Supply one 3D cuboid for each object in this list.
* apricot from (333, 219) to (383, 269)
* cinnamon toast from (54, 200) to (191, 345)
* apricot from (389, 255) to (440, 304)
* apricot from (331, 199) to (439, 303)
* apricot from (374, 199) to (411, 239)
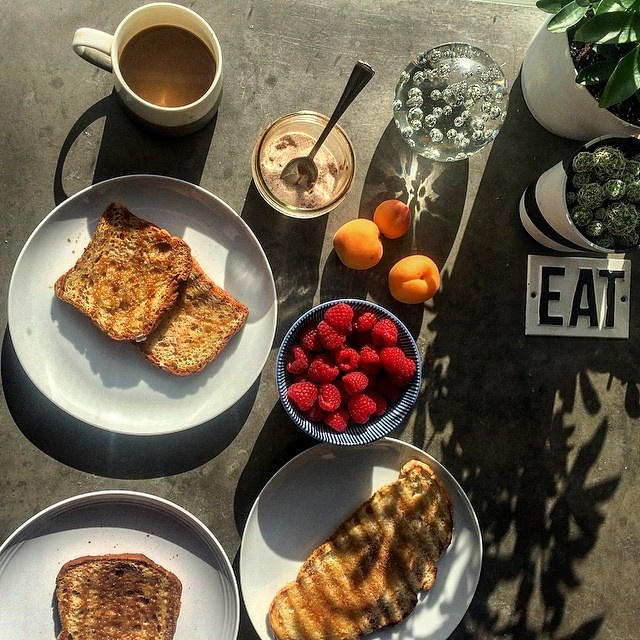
[{"bbox_3d":[0.092,-0.181,1.823,0.114,0.111,0.103,-23,53,-20],"label":"apricot"},{"bbox_3d":[-0.471,-0.115,1.757,0.293,0.086,0.344,33,86,-7],"label":"cinnamon toast"},{"bbox_3d":[0.235,-0.101,1.840,0.092,0.124,0.120,-6,42,-14],"label":"apricot"},{"bbox_3d":[0.138,-0.212,1.814,0.172,0.093,0.225,-6,45,26],"label":"apricot"},{"bbox_3d":[0.180,-0.247,1.783,0.068,0.098,0.095,-8,36,-3],"label":"apricot"}]
